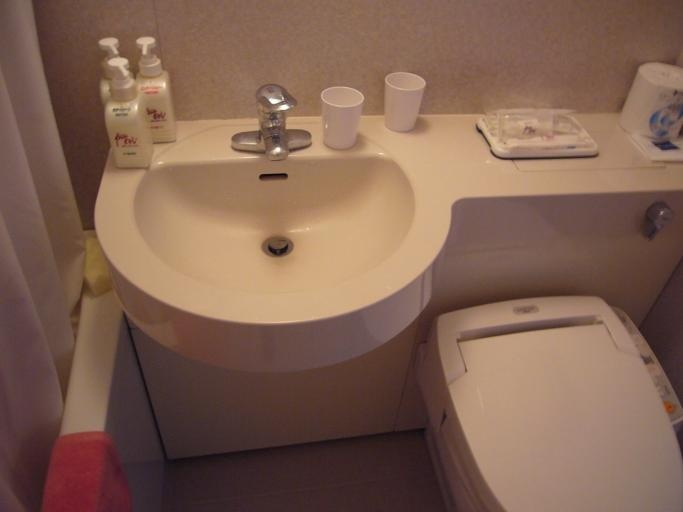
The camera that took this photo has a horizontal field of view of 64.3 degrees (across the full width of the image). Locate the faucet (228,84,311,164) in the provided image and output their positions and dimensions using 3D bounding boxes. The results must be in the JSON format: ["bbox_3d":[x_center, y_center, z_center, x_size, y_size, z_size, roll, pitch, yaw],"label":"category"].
[{"bbox_3d":[-0.160,-0.291,1.243,0.189,0.167,0.172,-5,50,-8],"label":"faucet"}]

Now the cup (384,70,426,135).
[{"bbox_3d":[0.164,-0.392,1.377,0.110,0.130,0.100,-1,40,-2],"label":"cup"}]

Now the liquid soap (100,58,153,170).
[{"bbox_3d":[-0.472,-0.310,1.196,0.078,0.214,0.089,-5,39,-7],"label":"liquid soap"}]

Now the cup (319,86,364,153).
[{"bbox_3d":[0.006,-0.336,1.315,0.109,0.113,0.121,26,47,25],"label":"cup"}]

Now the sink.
[{"bbox_3d":[-0.138,-0.006,1.174,0.759,0.185,0.468,-3,43,-5],"label":"sink"}]
